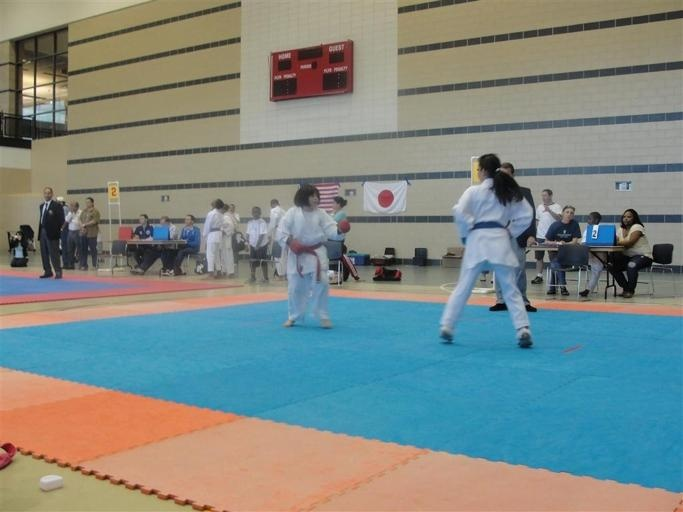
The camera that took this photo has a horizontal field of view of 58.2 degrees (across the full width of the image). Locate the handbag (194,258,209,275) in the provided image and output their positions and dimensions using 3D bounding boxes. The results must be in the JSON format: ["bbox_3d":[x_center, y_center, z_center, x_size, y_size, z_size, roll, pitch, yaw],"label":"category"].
[{"bbox_3d":[-3.733,0.279,16.306,0.291,0.426,0.409,0,-4,-2],"label":"handbag"}]

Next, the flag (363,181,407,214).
[{"bbox_3d":[1.406,-1.841,19.013,0.962,0.769,0.109,1,4,26],"label":"flag"}]

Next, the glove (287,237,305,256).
[{"bbox_3d":[-0.592,-0.136,7.957,0.071,0.211,0.158,-35,-26,-5],"label":"glove"}]

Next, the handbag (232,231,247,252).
[{"bbox_3d":[-2.703,-0.367,16.266,0.152,0.504,0.357,0,7,32],"label":"handbag"}]

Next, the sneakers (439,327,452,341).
[{"bbox_3d":[1.168,0.875,6.875,0.131,0.112,0.155,0,-4,4],"label":"sneakers"}]

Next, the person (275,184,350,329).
[{"bbox_3d":[-0.428,-0.011,8.021,0.796,1.845,0.507,0,5,-4],"label":"person"}]

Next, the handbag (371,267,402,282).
[{"bbox_3d":[1.070,0.443,14.401,0.529,0.251,0.352,5,-7,-36],"label":"handbag"}]

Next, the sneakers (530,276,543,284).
[{"bbox_3d":[4.222,0.530,13.381,0.298,0.196,0.114,1,2,15],"label":"sneakers"}]

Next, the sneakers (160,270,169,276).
[{"bbox_3d":[-4.523,0.434,15.717,0.183,0.132,0.139,2,-7,2],"label":"sneakers"}]

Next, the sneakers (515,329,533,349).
[{"bbox_3d":[2.004,0.880,6.674,0.194,0.208,0.172,0,5,4],"label":"sneakers"}]

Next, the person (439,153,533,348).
[{"bbox_3d":[1.659,-0.101,6.978,0.982,2.120,0.761,1,5,13],"label":"person"}]

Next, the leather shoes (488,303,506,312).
[{"bbox_3d":[2.373,0.778,9.319,0.299,0.130,0.108,5,-7,-35],"label":"leather shoes"}]

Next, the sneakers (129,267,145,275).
[{"bbox_3d":[-5.377,0.394,16.186,0.473,0.212,0.183,-4,-1,30],"label":"sneakers"}]
